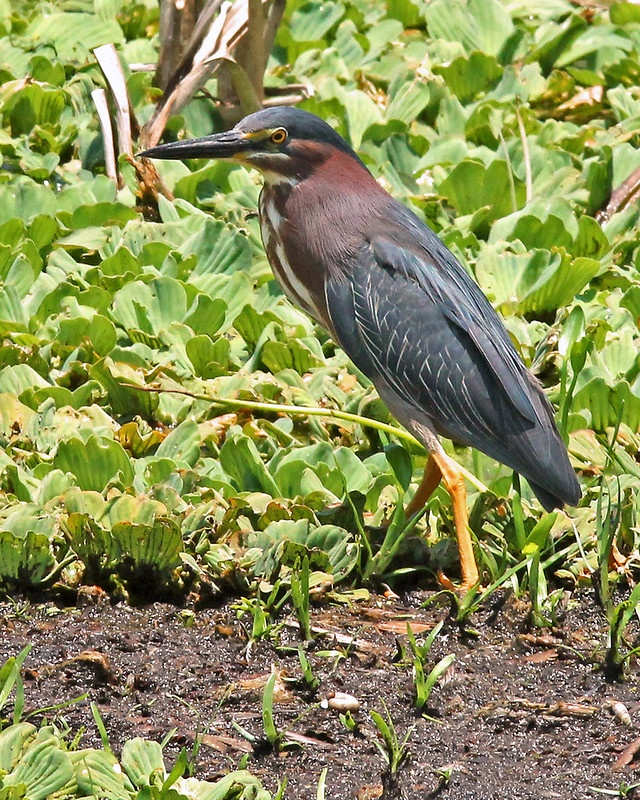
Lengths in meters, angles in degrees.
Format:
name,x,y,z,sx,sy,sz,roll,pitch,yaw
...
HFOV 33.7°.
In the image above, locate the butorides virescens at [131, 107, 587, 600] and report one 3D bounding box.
name,x,y,z,sx,sy,sz,roll,pitch,yaw
butorides virescens,0.187,-0.212,2.942,1.195,1.226,0.488,8,7,41
